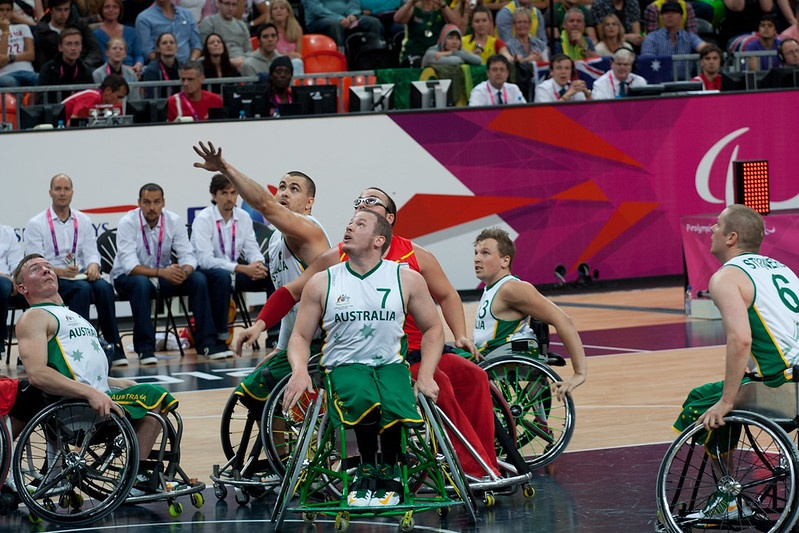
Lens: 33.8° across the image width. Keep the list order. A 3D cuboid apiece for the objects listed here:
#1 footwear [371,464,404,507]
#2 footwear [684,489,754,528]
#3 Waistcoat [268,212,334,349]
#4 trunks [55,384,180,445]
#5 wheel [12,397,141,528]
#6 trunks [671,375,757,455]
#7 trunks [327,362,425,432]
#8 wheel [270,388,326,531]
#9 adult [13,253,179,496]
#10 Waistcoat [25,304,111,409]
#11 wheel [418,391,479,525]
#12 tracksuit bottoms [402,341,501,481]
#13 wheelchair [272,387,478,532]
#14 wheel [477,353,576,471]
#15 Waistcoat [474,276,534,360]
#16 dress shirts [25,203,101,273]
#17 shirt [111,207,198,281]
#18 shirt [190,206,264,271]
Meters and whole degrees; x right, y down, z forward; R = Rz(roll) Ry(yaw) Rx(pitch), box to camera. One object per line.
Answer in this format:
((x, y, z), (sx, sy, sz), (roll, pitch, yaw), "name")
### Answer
((-0.111, 1.695, 10.371), (0.185, 0.242, 0.566), (2, 18, 10), "footwear")
((2.473, 1.868, 10.330), (0.667, 0.301, 0.222), (-3, 2, -14), "footwear")
((-0.991, 0.125, 11.726), (0.479, 1.035, 0.410), (-13, 7, 34), "Waistcoat")
((-2.330, 1.095, 10.899), (0.685, 0.680, 0.420), (-20, 2, 9), "trunks")
((-2.664, 1.575, 10.871), (1.011, 1.040, 0.782), (-3, 2, -12), "wheel")
((2.494, 1.145, 10.667), (0.617, 0.801, 0.557), (10, 20, 17), "trunks")
((-0.214, 0.997, 10.543), (0.513, 0.240, 0.598), (0, 14, -1), "trunks")
((-0.805, 1.509, 10.294), (0.187, 0.904, 0.802), (14, 1, -9), "wheel")
((-2.523, 0.839, 11.031), (1.345, 1.971, 1.117), (-8, -2, 26), "adult")
((-2.744, 0.770, 10.687), (0.791, 0.874, 0.257), (-2, 2, 17), "Waistcoat")
((0.386, 1.555, 10.602), (0.108, 0.804, 0.804), (-23, 45, -1), "wheel")
((0.300, 1.137, 11.004), (0.543, 1.163, 1.068), (1, 2, -8), "tracksuit bottoms")
((-0.231, 1.670, 10.979), (0.968, 1.390, 1.598), (1, -11, 0), "wheelchair")
((1.073, 1.257, 11.440), (0.964, 0.927, 0.132), (21, -19, -29), "wheel")
((1.001, 0.411, 12.089), (0.615, 0.972, 0.720), (-3, 3, -2), "Waistcoat")
((-3.953, -0.330, 15.565), (1.000, 0.960, 0.700), (-1, 3, -23), "dress shirts")
((-2.963, -0.355, 15.804), (0.928, 0.950, 0.843), (-2, 9, -27), "shirt")
((-2.187, -0.317, 16.040), (0.872, 0.839, 0.785), (-2, 0, -33), "shirt")
